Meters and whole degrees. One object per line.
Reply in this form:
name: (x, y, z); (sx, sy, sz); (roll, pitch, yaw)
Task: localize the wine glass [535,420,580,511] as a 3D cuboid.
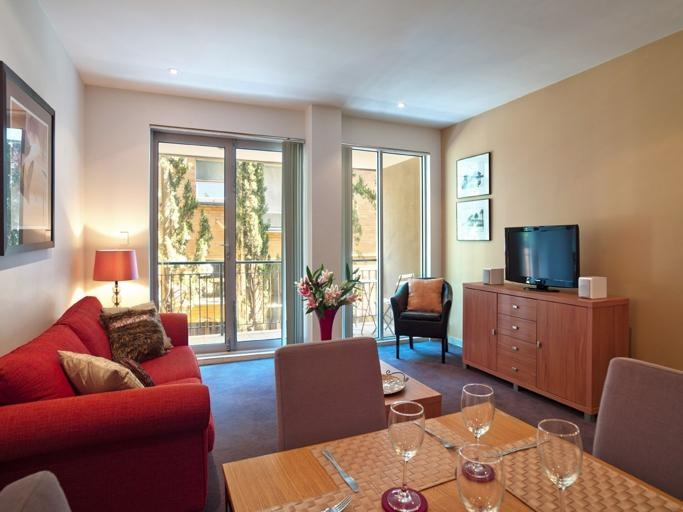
wine glass: (0.803, 0.787, 1.734); (0.142, 0.335, 0.120); (-1, 4, 23)

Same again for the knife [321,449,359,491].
knife: (0.002, 0.887, 1.924); (0.051, 0.017, 0.369); (-2, 4, -14)

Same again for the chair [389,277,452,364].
chair: (0.947, 0.774, 5.589); (0.704, 0.878, 0.528); (-1, 3, 14)

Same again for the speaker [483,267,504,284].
speaker: (1.641, 0.216, 5.075); (0.169, 0.183, 0.162); (1, -2, -12)

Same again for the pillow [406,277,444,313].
pillow: (1.003, 0.487, 5.667); (0.348, 0.371, 0.137); (0, -37, 17)

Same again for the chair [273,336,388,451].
chair: (-0.092, 0.635, 2.567); (0.510, 0.976, 0.518); (-1, -4, -17)

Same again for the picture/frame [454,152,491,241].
picture/frame: (1.631, -0.723, 5.824); (0.097, 1.058, 0.608); (-4, 3, -24)

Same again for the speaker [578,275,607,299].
speaker: (2.143, 0.251, 4.017); (0.186, 0.198, 0.180); (-3, 2, -29)
